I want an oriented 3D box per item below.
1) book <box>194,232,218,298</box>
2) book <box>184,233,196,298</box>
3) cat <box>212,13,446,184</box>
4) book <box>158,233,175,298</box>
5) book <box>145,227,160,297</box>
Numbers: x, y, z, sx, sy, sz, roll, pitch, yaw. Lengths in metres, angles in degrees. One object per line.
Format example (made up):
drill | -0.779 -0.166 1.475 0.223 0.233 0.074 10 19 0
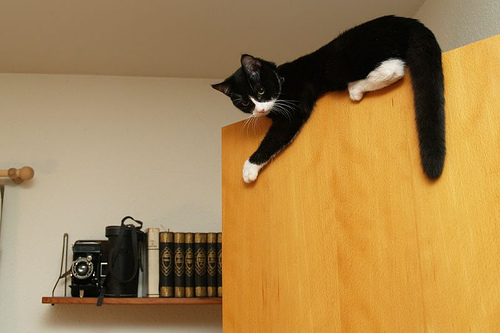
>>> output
book | -0.263 0.525 3.339 0.198 0.298 0.183 1 -7 -2
book | -0.317 0.513 3.255 0.061 0.324 0.044 1 -16 -6
cat | 0.329 -0.294 2.515 0.361 0.685 0.784 24 -33 -36
book | -0.440 0.510 3.240 0.081 0.323 0.056 2 -17 -10
book | -0.507 0.497 3.238 0.064 0.348 0.063 1 -16 -6
